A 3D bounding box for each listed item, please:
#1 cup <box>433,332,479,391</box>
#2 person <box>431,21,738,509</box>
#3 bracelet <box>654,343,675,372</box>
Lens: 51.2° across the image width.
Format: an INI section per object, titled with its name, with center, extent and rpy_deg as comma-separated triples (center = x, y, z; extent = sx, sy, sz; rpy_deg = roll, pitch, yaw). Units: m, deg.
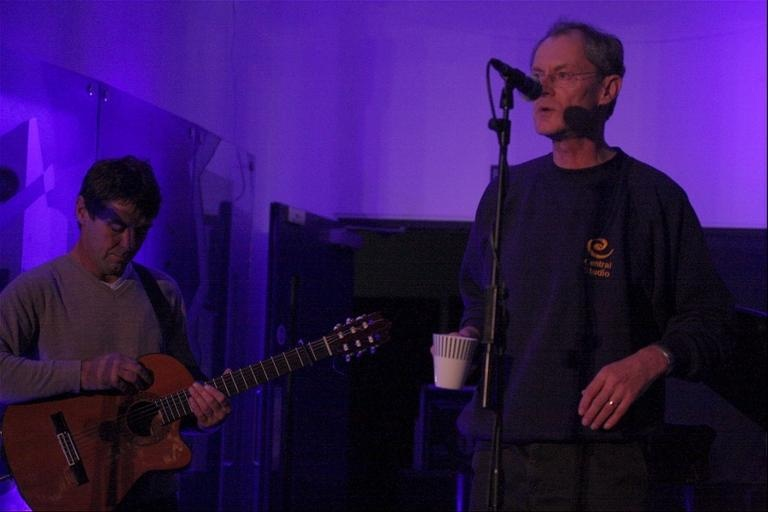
[cup]
center = 0.291, 0.436, 3.310
extent = 0.202, 0.207, 0.210
rpy_deg = 7, -9, 1
[person]
center = 0.931, 0.036, 3.368
extent = 0.912, 2.096, 0.464
rpy_deg = 5, 3, 22
[bracelet]
center = 1.135, 0.412, 3.230
extent = 0.099, 0.073, 0.035
rpy_deg = 41, -36, -9
